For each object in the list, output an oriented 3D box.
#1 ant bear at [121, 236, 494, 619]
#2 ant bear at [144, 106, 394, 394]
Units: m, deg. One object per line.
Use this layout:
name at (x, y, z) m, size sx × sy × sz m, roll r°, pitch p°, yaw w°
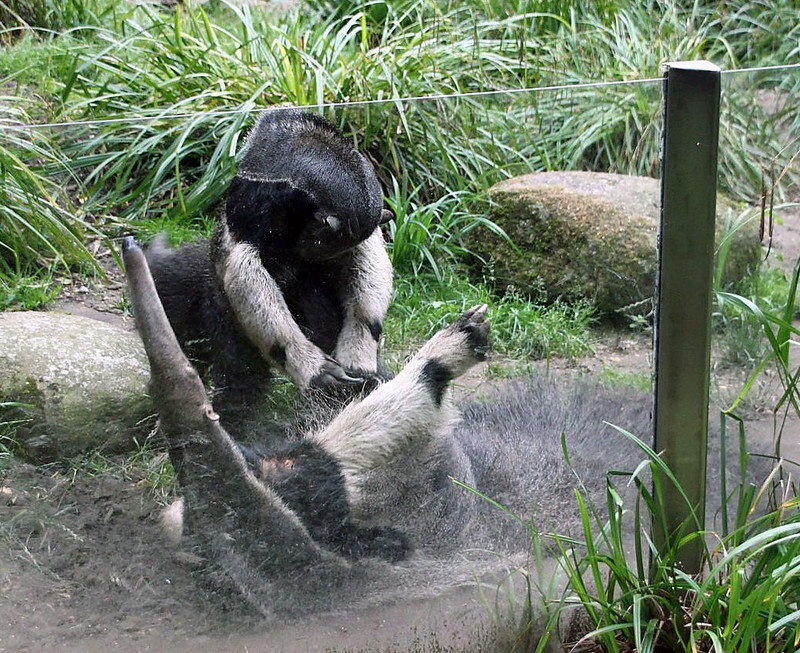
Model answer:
ant bear at (-0.261, 0.327, 3.759) m, size 0.555 × 1.448 × 1.452 m, roll 18°, pitch 28°, yaw 38°
ant bear at (-0.413, -0.277, 3.691) m, size 0.986 × 0.972 × 0.545 m, roll 6°, pitch 14°, yaw 43°
